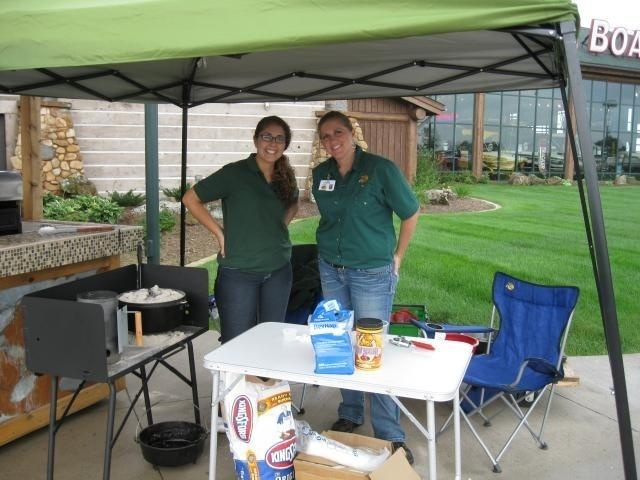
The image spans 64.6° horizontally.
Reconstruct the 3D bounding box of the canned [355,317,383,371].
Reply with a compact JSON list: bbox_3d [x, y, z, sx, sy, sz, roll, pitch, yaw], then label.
[{"bbox_3d":[0.222,0.494,2.365,0.121,0.233,0.058,1,7,2],"label":"canned"}]

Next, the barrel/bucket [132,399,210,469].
[{"bbox_3d":[-0.964,1.340,3.299,0.425,0.239,0.256,-2,6,-19],"label":"barrel/bucket"}]

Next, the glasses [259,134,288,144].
[{"bbox_3d":[-0.309,-0.678,3.416,0.225,0.077,0.075,-2,6,-21],"label":"glasses"}]
